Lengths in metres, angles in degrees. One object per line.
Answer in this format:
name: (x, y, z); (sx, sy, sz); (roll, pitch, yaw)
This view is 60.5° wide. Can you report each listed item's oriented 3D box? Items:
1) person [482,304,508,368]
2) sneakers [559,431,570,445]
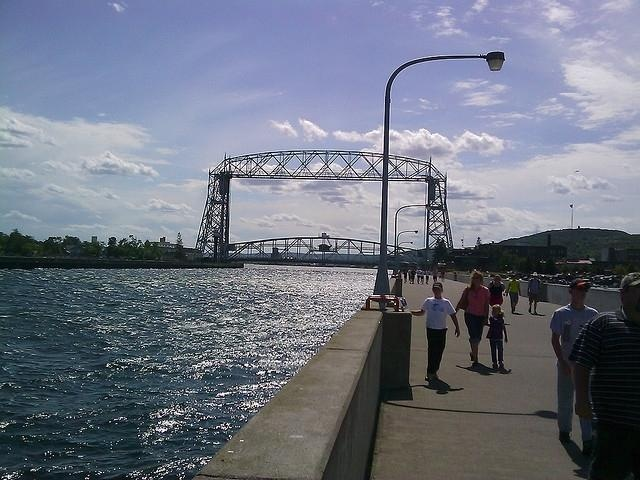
person: (3.722, 1.961, 11.483); (0.396, 1.251, 1.798); (3, -2, 18)
sneakers: (3.114, 2.515, 6.977); (0.141, 0.150, 0.140); (0, -9, 8)
